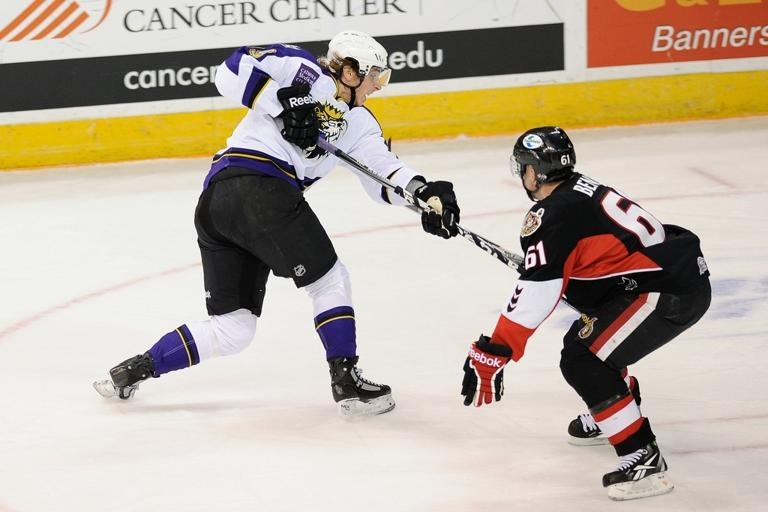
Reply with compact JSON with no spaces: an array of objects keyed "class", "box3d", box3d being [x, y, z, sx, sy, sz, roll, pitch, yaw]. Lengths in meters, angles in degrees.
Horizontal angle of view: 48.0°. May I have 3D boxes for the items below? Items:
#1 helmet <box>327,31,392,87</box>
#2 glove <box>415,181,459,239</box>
[{"class":"helmet","box3d":[-0.179,-1.038,4.709,0.385,0.293,0.310,-1,20,-29]},{"class":"glove","box3d":[0.286,-0.252,4.639,0.149,0.290,0.237,8,-21,-37]}]
